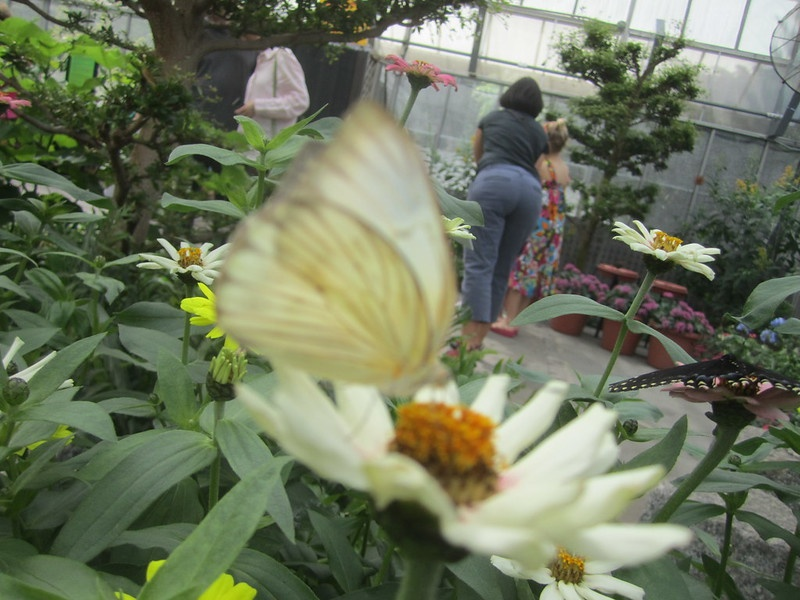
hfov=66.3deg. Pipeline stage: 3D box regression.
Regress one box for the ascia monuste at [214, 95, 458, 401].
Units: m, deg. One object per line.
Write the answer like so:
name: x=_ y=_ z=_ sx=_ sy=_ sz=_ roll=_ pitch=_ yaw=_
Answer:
ascia monuste: x=-0.049 y=-0.031 z=0.541 sx=0.235 sy=0.276 sz=0.077 roll=-1 pitch=16 yaw=-46
